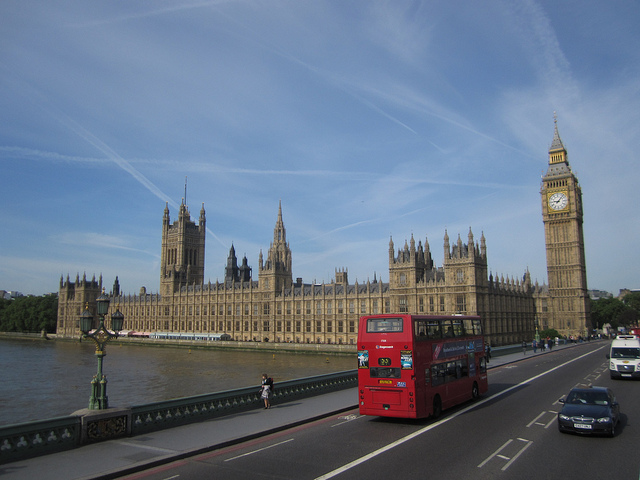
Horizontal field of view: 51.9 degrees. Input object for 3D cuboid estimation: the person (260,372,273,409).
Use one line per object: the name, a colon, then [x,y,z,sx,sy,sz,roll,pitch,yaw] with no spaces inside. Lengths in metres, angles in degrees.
person: [-3.260,9.053,39.864,0.788,2.043,1.264,-2,-5,-6]

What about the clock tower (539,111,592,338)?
clock tower: [54.661,-0.594,147.869,7.797,43.036,14.911,-4,-5,18]

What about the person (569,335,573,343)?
person: [44.466,17.432,116.501,0.487,0.424,1.830,-36,-12,29]

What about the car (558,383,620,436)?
car: [13.803,8.752,33.561,3.145,2.209,2.172,1,-6,-32]

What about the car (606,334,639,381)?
car: [22.867,8.846,49.279,2.119,3.005,2.716,-5,-6,24]
